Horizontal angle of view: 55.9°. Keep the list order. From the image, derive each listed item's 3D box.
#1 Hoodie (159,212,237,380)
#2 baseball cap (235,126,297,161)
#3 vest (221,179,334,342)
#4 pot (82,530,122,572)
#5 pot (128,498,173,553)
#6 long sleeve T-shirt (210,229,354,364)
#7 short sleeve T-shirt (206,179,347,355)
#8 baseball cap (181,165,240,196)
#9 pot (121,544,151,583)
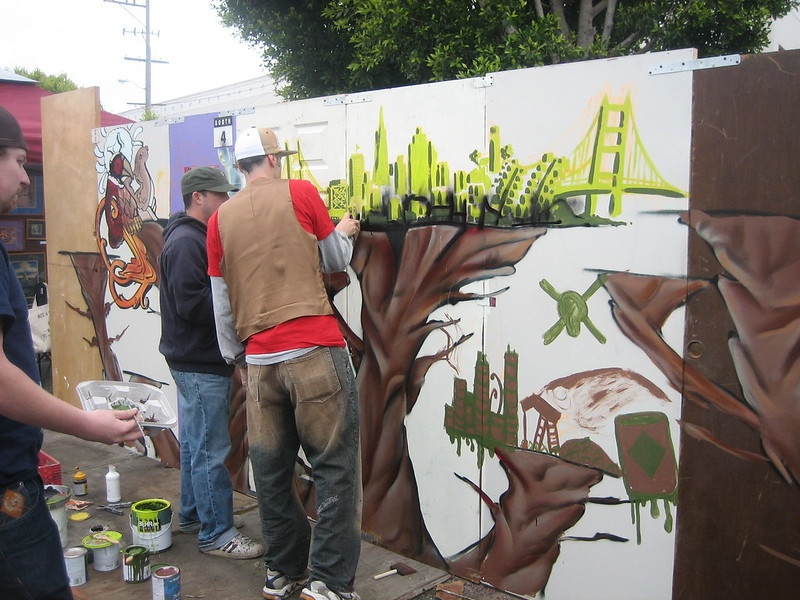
[{"bbox_3d":[-1.567,-0.013,5.882,0.751,1.456,1.085,0,4,-19],"label":"Hoodie"},{"bbox_3d":[-0.871,-1.009,4.800,0.292,0.181,0.195,-19,30,-34],"label":"baseball cap"},{"bbox_3d":[-0.749,-0.230,4.604,0.580,0.937,0.449,-20,-11,19],"label":"vest"},{"bbox_3d":[-2.065,1.734,5.283,0.214,0.195,0.242,0,1,-12],"label":"pot"},{"bbox_3d":[-1.778,1.591,5.481,0.285,0.352,0.296,0,3,0],"label":"pot"},{"bbox_3d":[-0.759,-0.028,4.651,0.546,0.626,0.353,-17,13,16],"label":"long sleeve T-shirt"},{"bbox_3d":[-0.779,-0.183,4.683,0.860,1.369,0.619,-7,-4,25],"label":"short sleeve T-shirt"},{"bbox_3d":[-1.411,-0.904,5.534,0.283,0.171,0.216,-7,14,-24],"label":"baseball cap"},{"bbox_3d":[-1.764,1.774,5.098,0.154,0.240,0.211,1,2,-1],"label":"pot"}]
